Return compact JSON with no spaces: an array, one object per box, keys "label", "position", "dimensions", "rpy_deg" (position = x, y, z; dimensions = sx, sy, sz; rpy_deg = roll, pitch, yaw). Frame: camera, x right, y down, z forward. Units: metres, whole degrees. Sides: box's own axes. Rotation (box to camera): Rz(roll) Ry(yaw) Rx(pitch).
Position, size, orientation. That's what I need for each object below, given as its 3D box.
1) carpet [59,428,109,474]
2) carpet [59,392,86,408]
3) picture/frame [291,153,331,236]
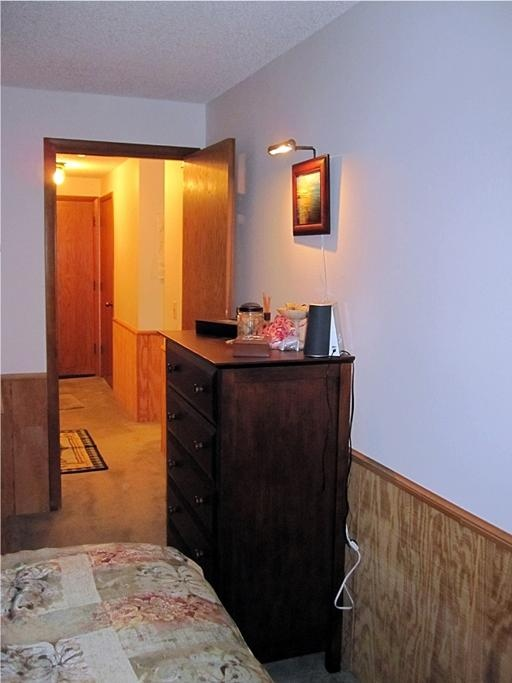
[{"label":"carpet","position":[-1.580,1.002,4.604],"dimensions":[0.355,0.283,1.159],"rpy_deg":[10,-8,-22]},{"label":"carpet","position":[-2.281,0.764,6.269],"dimensions":[0.270,0.176,0.774],"rpy_deg":[10,-8,-21]},{"label":"picture/frame","position":[0.231,-0.628,2.197],"dimensions":[0.241,0.277,0.018],"rpy_deg":[-24,27,-39]}]
